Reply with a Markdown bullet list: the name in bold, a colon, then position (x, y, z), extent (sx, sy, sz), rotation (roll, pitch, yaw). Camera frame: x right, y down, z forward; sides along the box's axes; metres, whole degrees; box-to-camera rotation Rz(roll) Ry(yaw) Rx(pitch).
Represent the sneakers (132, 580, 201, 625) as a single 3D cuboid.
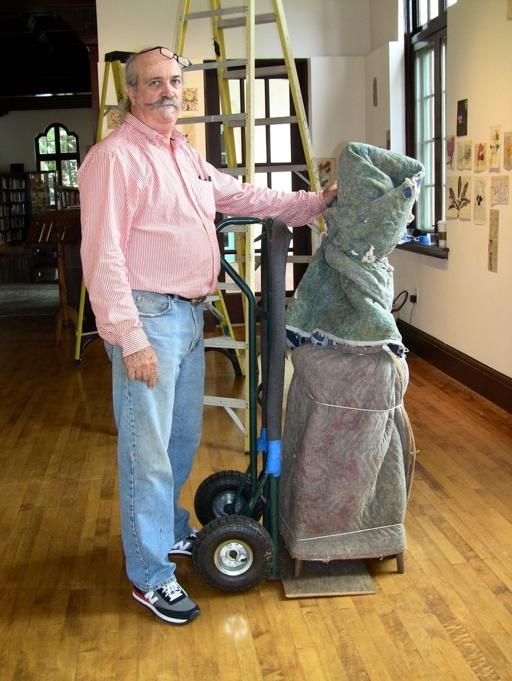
- **sneakers**: position (-0.247, 0.695, 1.517), extent (0.183, 0.076, 0.080), rotation (13, 12, 31)
